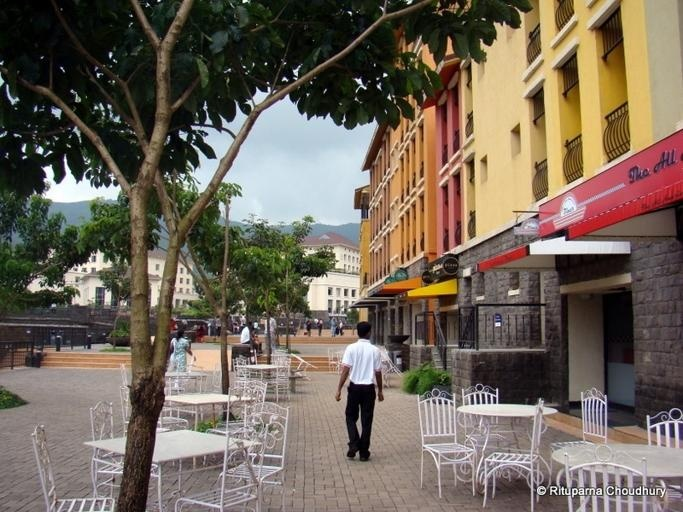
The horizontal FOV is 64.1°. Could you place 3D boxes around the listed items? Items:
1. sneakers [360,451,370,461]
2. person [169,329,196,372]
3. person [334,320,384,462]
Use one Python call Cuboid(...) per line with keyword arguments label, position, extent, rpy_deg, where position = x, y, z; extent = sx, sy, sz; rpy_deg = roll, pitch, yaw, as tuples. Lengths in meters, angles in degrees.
Cuboid(label="sneakers", position=(0.378, 3.209, 8.760), extent=(0.162, 0.152, 0.167), rpy_deg=(1, -11, 2))
Cuboid(label="person", position=(-4.430, 2.612, 15.264), extent=(0.589, 1.236, 2.276), rpy_deg=(4, -12, -16))
Cuboid(label="person", position=(0.302, 2.170, 8.787), extent=(0.608, 2.190, 0.782), rpy_deg=(-7, -12, 41))
